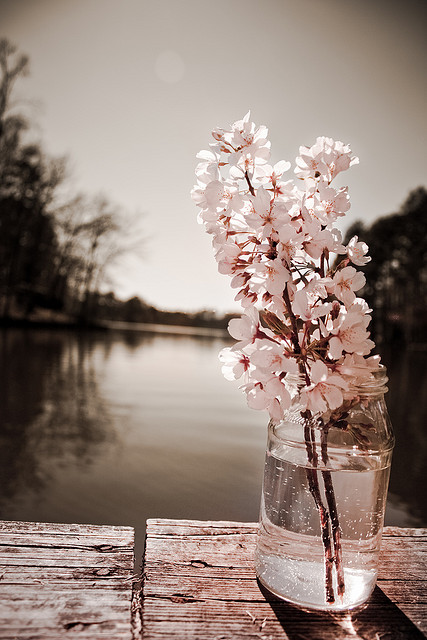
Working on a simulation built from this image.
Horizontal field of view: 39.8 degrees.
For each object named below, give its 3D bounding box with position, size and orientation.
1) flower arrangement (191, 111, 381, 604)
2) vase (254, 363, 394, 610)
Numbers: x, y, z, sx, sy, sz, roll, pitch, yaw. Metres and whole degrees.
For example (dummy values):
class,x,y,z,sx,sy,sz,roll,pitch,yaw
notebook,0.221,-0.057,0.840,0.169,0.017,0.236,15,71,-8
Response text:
class,x,y,z,sx,sy,sz,roll,pitch,yaw
flower arrangement,0.078,0.035,0.699,0.240,0.531,0.195,8,14,15
vase,0.130,0.196,0.732,0.161,0.273,0.155,8,3,7
